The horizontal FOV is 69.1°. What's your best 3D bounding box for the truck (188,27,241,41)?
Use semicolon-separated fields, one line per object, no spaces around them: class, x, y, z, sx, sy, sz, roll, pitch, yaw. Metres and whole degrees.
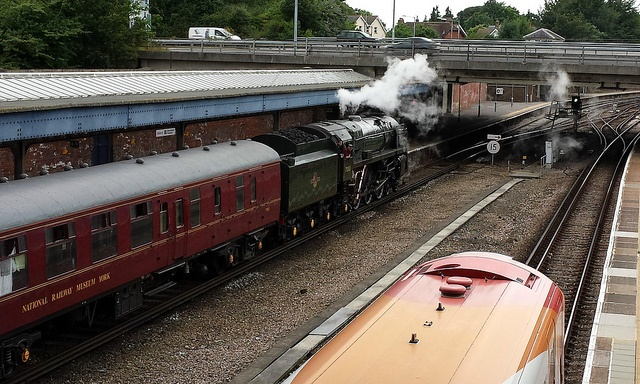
truck;-14.140;-20.962;60.764;5.074;2.270;13.664;-7;16;-16
